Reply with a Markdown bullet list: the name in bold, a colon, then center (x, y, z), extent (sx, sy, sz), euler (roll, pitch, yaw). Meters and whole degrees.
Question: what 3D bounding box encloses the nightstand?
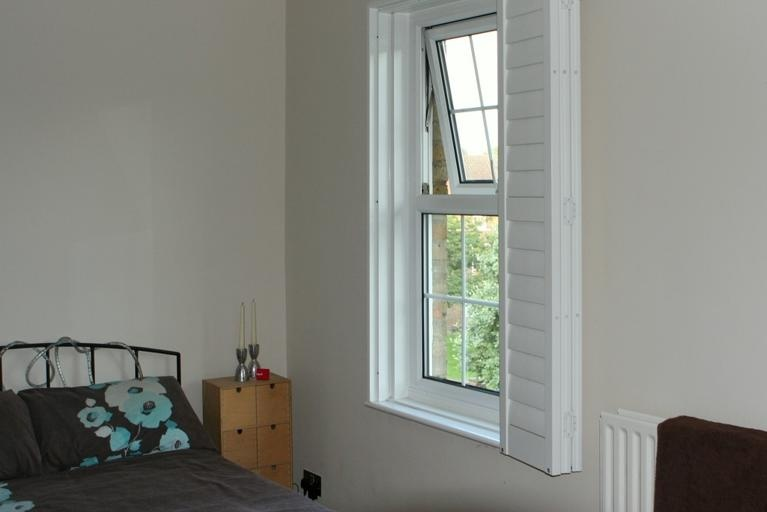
- **nightstand**: center (-0.828, 1.183, 4.133), extent (0.438, 0.821, 0.280), euler (-2, 3, -22)
